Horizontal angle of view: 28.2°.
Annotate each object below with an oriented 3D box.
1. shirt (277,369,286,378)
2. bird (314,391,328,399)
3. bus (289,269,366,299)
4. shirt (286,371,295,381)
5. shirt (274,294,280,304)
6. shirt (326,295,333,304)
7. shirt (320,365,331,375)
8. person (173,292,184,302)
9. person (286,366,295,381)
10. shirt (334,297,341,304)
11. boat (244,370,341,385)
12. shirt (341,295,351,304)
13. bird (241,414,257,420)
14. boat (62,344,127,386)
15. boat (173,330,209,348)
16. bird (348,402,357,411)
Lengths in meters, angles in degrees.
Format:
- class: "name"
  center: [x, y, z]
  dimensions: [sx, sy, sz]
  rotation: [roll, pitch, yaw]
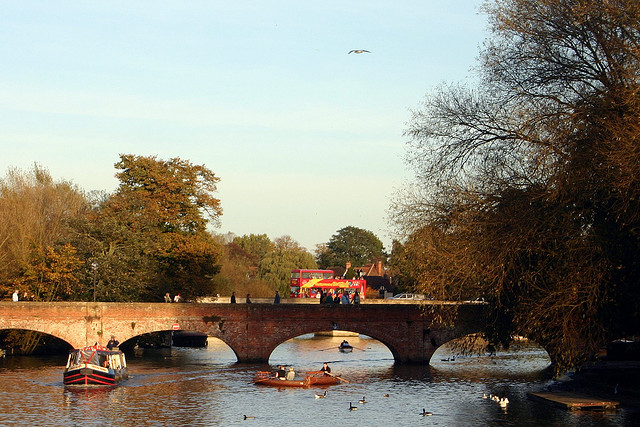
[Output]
- class: "shirt"
  center: [-2.532, 10.608, 84.108]
  dimensions: [0.530, 0.401, 0.307]
  rotation: [1, -6, -5]
- class: "bird"
  center: [0.085, 11.454, 79.878]
  dimensions: [0.688, 0.815, 0.306]
  rotation: [4, -8, -3]
- class: "bus"
  center: [1.681, 6.986, 125.378]
  dimensions: [7.055, 3.191, 2.372]
  rotation: [-1, 4, 24]
- class: "shirt"
  center: [-1.899, 10.684, 83.655]
  dimensions: [0.721, 0.747, 0.387]
  rotation: [2, 3, -35]
- class: "shirt"
  center: [-3.267, 6.546, 97.841]
  dimensions: [0.286, 0.671, 1.074]
  rotation: [0, 4, -10]
- class: "shirt"
  center: [0.759, 6.511, 95.655]
  dimensions: [0.576, 0.870, 0.457]
  rotation: [1, -10, -3]
- class: "shirt"
  center: [0.394, 10.560, 85.711]
  dimensions: [0.607, 0.893, 0.295]
  rotation: [-1, 7, 6]
- class: "person"
  center: [-10.467, 6.315, 95.557]
  dimensions: [0.558, 0.772, 1.225]
  rotation: [1, -3, 1]
- class: "person"
  center: [-1.783, 10.656, 83.959]
  dimensions: [0.607, 1.047, 0.598]
  rotation: [1, 2, -24]
- class: "shirt"
  center: [1.407, 6.641, 96.887]
  dimensions: [0.568, 0.605, 0.327]
  rotation: [2, -7, -11]
- class: "boat"
  center: [-1.641, 10.891, 84.440]
  dimensions: [5.937, 0.602, 3.491]
  rotation: [0, 4, -1]
- class: "shirt"
  center: [1.962, 6.631, 96.848]
  dimensions: [0.607, 0.947, 0.540]
  rotation: [2, 5, 21]
- class: "bird"
  center: [-4.121, 11.941, 74.612]
  dimensions: [0.756, 0.528, 0.279]
  rotation: [6, -10, -3]
- class: "boat"
  center: [-14.734, 9.902, 83.114]
  dimensions: [3.976, 2.589, 2.208]
  rotation: [-1, 4, -21]
- class: "boat"
  center: [-11.256, 10.907, 109.999]
  dimensions: [2.950, 1.331, 2.271]
  rotation: [1, 4, 7]
- class: "bird"
  center: [2.051, 11.692, 76.643]
  dimensions: [0.417, 0.183, 0.926]
  rotation: [0, 4, 1]
